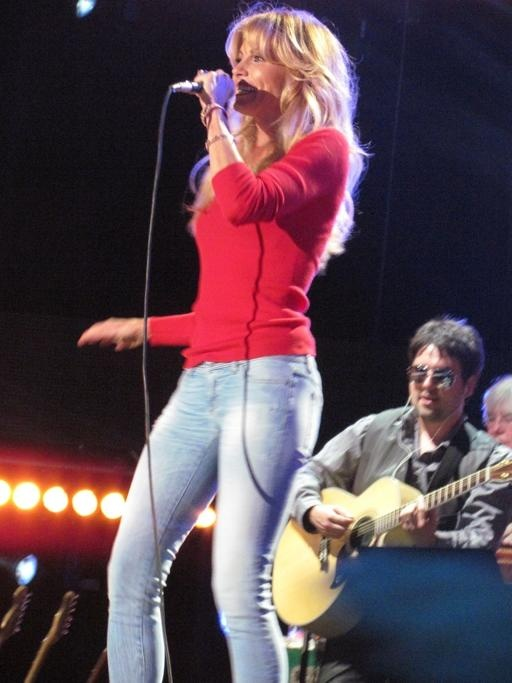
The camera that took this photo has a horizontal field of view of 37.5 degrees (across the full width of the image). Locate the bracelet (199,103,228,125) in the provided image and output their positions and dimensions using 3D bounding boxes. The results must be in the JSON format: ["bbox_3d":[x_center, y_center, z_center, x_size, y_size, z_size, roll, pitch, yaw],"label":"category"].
[{"bbox_3d":[-0.086,-0.456,1.546,0.049,0.041,0.016,-30,-23,-10],"label":"bracelet"}]

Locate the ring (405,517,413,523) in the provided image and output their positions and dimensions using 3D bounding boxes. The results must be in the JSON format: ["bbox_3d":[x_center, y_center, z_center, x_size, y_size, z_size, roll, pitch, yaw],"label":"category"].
[{"bbox_3d":[0.373,0.433,1.839,0.012,0.015,0.004,2,-38,38],"label":"ring"}]

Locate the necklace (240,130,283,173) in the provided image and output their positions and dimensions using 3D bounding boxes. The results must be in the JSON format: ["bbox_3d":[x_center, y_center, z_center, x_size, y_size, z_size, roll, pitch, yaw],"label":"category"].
[{"bbox_3d":[0.010,-0.424,1.705,0.100,0.113,0.046,-1,2,22],"label":"necklace"}]

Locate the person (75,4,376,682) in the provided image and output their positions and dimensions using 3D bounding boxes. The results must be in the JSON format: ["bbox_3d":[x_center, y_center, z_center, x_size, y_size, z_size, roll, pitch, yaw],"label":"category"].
[{"bbox_3d":[-0.022,-0.056,1.596,0.379,1.443,0.434,6,-5,4],"label":"person"}]
